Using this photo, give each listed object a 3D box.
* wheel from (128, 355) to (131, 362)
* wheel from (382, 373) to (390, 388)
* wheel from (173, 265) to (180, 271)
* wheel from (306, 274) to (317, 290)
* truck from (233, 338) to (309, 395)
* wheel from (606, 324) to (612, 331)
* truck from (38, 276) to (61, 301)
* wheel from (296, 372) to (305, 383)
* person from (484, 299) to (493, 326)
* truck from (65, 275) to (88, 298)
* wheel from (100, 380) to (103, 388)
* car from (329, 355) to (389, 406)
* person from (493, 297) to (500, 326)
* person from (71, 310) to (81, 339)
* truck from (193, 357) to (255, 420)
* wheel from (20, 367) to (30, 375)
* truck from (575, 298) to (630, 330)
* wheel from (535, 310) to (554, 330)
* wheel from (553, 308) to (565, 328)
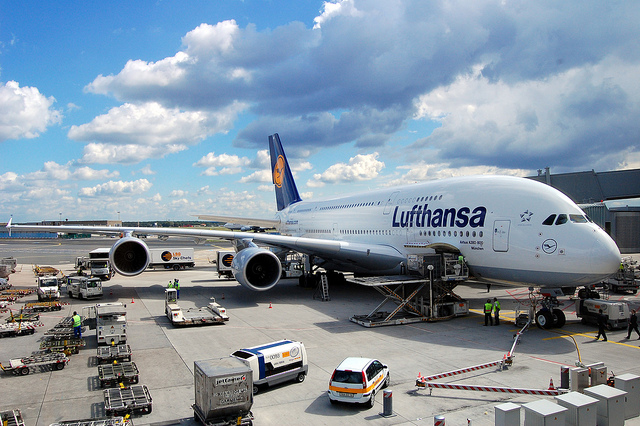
[{"bbox_3d":[-8.071,6.138,19.286,0.062,0.213,0.550,-5,0,-23],"label":"wheel"},{"bbox_3d":[2.405,6.157,16.637,0.204,0.522,0.580,3,-9,15],"label":"wheel"},{"bbox_3d":[-14.852,5.690,46.930,0.565,0.465,0.180,-2,-7,-24],"label":"wheel"},{"bbox_3d":[-0.700,5.315,34.614,0.931,0.754,0.844,0,0,1],"label":"wheel"},{"bbox_3d":[-2.021,5.771,17.161,2.882,1.415,1.583,3,-3,-44],"label":"truck"},{"bbox_3d":[14.389,5.716,22.567,0.309,0.267,0.072,-5,-13,29],"label":"wheel"},{"bbox_3d":[-17.918,4.965,30.051,1.289,0.996,2.164,1,-6,-31],"label":"truck"},{"bbox_3d":[-0.742,6.222,17.244,0.341,0.369,0.141,-4,-2,-44],"label":"wheel"},{"bbox_3d":[8.663,5.125,23.397,0.433,1.392,0.673,-6,-1,23],"label":"person"},{"bbox_3d":[-17.126,5.206,32.122,1.505,1.072,1.952,1,-2,-35],"label":"truck"},{"bbox_3d":[-8.265,6.453,17.165,0.081,0.208,0.432,-5,0,-29],"label":"wheel"},{"bbox_3d":[1.460,6.048,16.845,1.779,1.224,3.255,-1,-2,19],"label":"car"},{"bbox_3d":[9.131,5.101,23.505,0.332,1.472,1.291,-6,-1,19],"label":"person"},{"bbox_3d":[-11.605,5.377,21.663,0.359,1.023,0.861,-5,-1,-28],"label":"person"},{"bbox_3d":[-3.278,5.774,15.130,2.067,1.642,1.843,-2,4,-36],"label":"truck"},{"bbox_3d":[-11.763,6.304,18.049,0.418,0.343,0.132,-2,-10,-20],"label":"wheel"},{"bbox_3d":[14.571,5.176,23.463,1.440,1.190,2.267,1,-5,-16],"label":"truck"},{"bbox_3d":[11.154,5.320,22.495,0.430,0.934,1.047,0,-1,-39],"label":"wheel"},{"bbox_3d":[11.868,5.281,22.566,0.479,1.024,0.581,-6,-1,26],"label":"wheel"}]
